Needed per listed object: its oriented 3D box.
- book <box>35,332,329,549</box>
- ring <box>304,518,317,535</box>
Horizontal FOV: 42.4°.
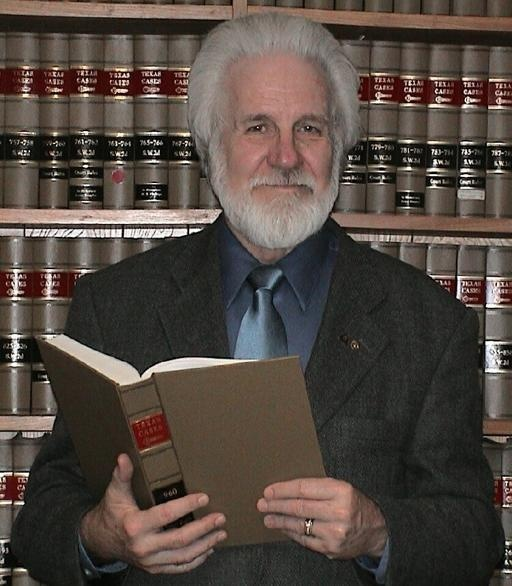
[{"bbox_3d":[-0.065,0.140,0.791,0.423,0.247,0.104,0,33,14],"label":"book"},{"bbox_3d":[0.066,0.292,0.830,0.015,0.017,0.007,2,0,-6],"label":"ring"}]
